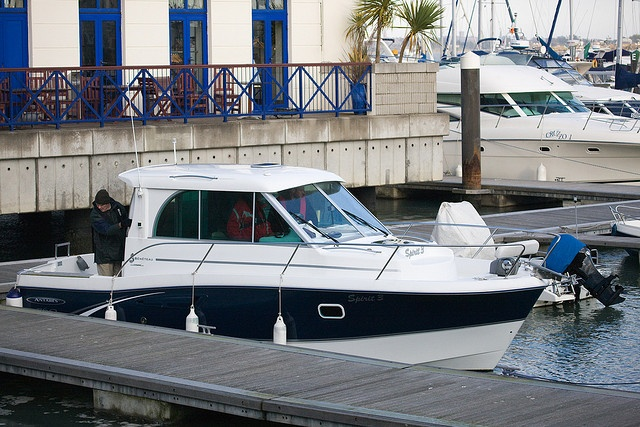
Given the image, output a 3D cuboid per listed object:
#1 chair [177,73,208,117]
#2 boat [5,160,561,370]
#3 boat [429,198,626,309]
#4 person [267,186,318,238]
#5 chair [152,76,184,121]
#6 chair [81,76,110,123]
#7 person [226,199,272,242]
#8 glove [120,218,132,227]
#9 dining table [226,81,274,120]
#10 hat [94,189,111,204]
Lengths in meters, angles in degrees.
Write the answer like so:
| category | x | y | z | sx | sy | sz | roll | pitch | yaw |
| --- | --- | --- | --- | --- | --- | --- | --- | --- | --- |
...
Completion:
| category | x | y | z | sx | sy | sz | roll | pitch | yaw |
| --- | --- | --- | --- | --- | --- | --- | --- | --- | --- |
| chair | -2.899 | -2.818 | 26.785 | 0.404 | 0.620 | 0.406 | 7 | -2 | -2 |
| boat | 1.101 | 0.748 | 20.348 | 10.358 | 3.110 | 2.999 | 4 | 12 | 16 |
| boat | 3.881 | 0.805 | 22.146 | 3.120 | 1.273 | 2.196 | 6 | 5 | 19 |
| person | -0.404 | -0.026 | 19.942 | 0.564 | 0.925 | 0.227 | -34 | 6 | -32 |
| chair | -3.332 | -2.626 | 26.459 | 0.867 | 0.974 | 0.792 | -6 | 9 | -31 |
| chair | -4.933 | -2.617 | 26.062 | 0.665 | 1.100 | 0.674 | 8 | -8 | -18 |
| person | -1.194 | 0.098 | 19.838 | 0.682 | 0.680 | 0.785 | 6 | 7 | 44 |
| glove | -3.318 | 0.152 | 20.400 | 0.134 | 0.072 | 0.182 | -4 | 7 | -32 |
| dining table | -1.651 | -2.615 | 27.543 | 0.661 | 0.790 | 1.158 | 2 | 8 | 29 |
| hat | -3.806 | -0.298 | 20.701 | 0.208 | 0.167 | 0.272 | 0 | 9 | -17 |
